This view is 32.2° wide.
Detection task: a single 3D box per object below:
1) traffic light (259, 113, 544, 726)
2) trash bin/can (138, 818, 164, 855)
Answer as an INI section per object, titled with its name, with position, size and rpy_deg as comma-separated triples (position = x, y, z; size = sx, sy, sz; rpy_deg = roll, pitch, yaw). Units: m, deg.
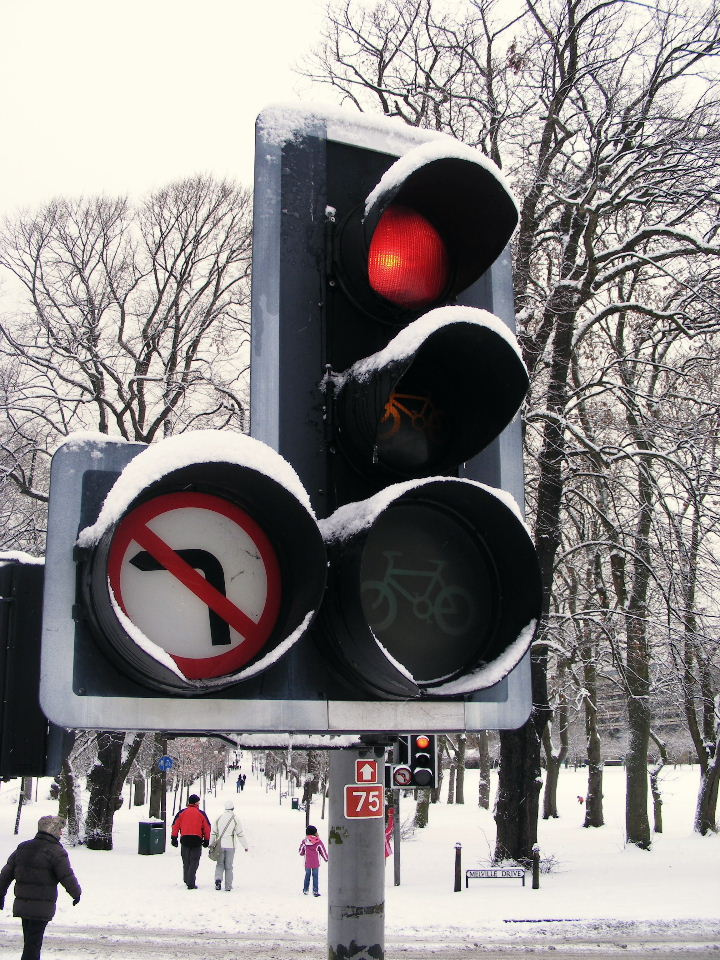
[traffic light]
position = 0.164, -0.302, 3.723
size = 1.013, 2.058, 0.902
rpy_deg = 4, -10, -15
[trash bin/can]
position = -4.161, 7.100, 25.220
size = 0.574, 1.086, 0.511
rpy_deg = 1, -7, -7
